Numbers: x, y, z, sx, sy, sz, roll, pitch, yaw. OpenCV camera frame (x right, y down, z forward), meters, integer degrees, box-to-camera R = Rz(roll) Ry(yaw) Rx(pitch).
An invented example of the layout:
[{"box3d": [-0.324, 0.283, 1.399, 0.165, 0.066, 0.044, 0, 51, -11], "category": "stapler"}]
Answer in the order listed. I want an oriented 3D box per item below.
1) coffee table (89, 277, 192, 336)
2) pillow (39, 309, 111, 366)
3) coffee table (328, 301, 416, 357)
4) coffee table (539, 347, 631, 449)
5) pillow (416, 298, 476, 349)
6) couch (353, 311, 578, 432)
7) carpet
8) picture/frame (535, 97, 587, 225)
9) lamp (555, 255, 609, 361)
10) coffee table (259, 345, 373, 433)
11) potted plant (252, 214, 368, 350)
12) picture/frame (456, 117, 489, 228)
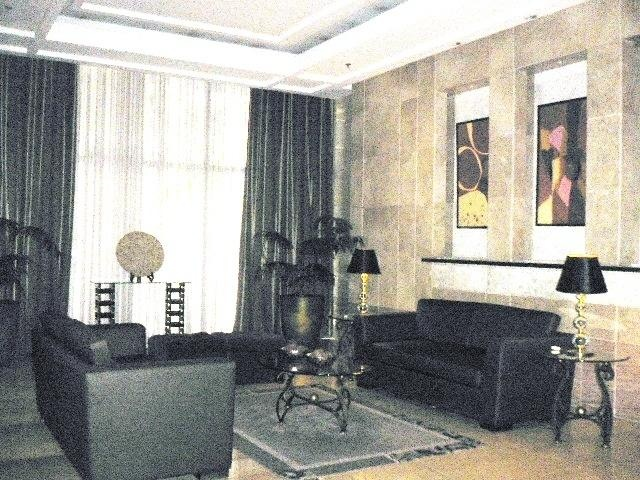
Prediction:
[{"box3d": [-2.301, 0.915, 7.956, 1.086, 0.749, 0.618, 0, -8, -12], "category": "coffee table"}, {"box3d": [-1.768, 0.729, 4.615, 0.271, 0.288, 0.869, -10, 13, -2], "category": "pillow"}, {"box3d": [0.610, 1.000, 6.951, 0.543, 0.461, 0.561, 1, 0, -19], "category": "coffee table"}, {"box3d": [2.263, 1.376, 5.210, 0.671, 0.727, 0.630, -1, -13, 20], "category": "coffee table"}, {"box3d": [1.418, 0.890, 6.694, 0.660, 0.646, 0.156, -2, 20, 14], "category": "pillow"}, {"box3d": [1.343, 1.191, 6.227, 0.983, 1.024, 2.067, 1, -1, -30], "category": "couch"}, {"box3d": [0.184, 1.652, 5.146, 1.841, 0.061, 1.387, 1, 6, -16], "category": "carpet"}, {"box3d": [2.510, -0.808, 6.325, 0.142, 1.327, 0.647, -2, 7, -32], "category": "picture/frame"}, {"box3d": [2.300, 0.555, 5.311, 0.363, 0.864, 0.702, 7, 8, 39], "category": "lamp"}, {"box3d": [-0.040, 1.365, 5.643, 1.024, 0.572, 0.941, 8, -13, 12], "category": "coffee table"}, {"box3d": [0.220, 0.508, 8.609, 1.791, 2.178, 1.698, 3, -2, -29], "category": "potted plant"}, {"box3d": [1.823, -0.762, 7.197, 0.019, 1.309, 0.559, -2, 3, -29], "category": "picture/frame"}]
